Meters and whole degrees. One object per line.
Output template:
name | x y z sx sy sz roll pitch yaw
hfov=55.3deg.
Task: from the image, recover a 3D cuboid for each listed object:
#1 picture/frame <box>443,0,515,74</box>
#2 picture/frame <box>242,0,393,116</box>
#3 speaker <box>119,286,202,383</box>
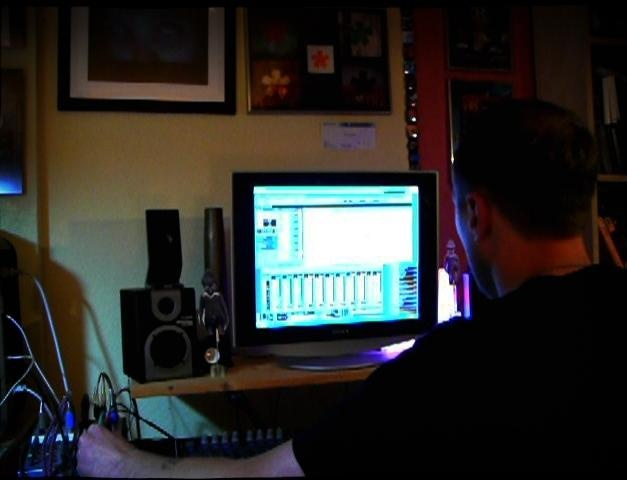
picture/frame | 0.605 -0.731 2.173 0.250 0.169 0.019 -1 0 -10
picture/frame | -0.015 -0.602 1.986 0.343 0.366 0.036 1 -3 -10
speaker | -0.478 0.279 1.828 0.236 0.369 0.251 1 -8 -29
